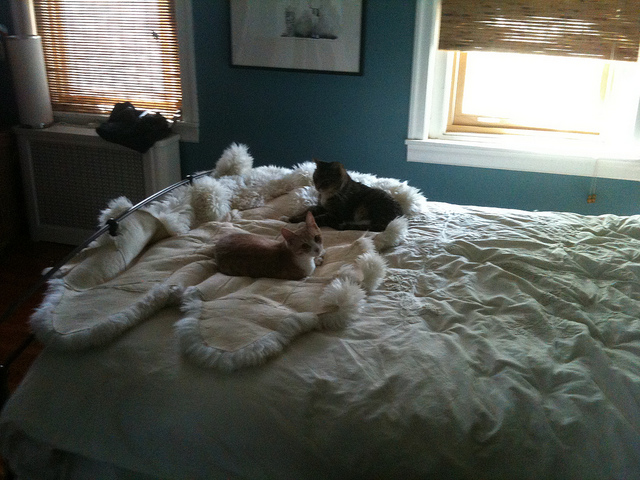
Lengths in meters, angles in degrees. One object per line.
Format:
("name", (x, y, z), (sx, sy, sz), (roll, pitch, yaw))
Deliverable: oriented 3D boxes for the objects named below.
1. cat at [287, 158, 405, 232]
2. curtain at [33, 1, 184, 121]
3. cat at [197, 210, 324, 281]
("cat", (0.155, -0.193, 2.308), (0.558, 0.267, 0.209), (5, 12, -24))
("curtain", (-1.381, -1.214, 3.330), (0.853, 0.731, 0.057), (6, 31, 9))
("cat", (-0.216, 0.018, 1.809), (0.496, 0.261, 0.183), (9, 36, 14))
